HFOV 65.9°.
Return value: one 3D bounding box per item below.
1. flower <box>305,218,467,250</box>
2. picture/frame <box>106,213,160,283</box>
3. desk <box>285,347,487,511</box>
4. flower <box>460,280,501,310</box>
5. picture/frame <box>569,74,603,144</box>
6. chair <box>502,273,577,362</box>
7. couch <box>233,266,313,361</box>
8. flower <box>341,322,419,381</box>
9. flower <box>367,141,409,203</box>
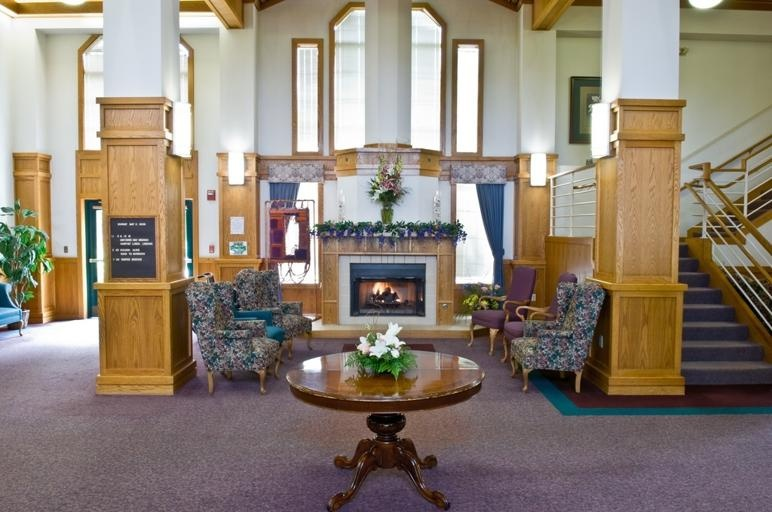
[{"bbox_3d":[0.054,-0.443,11.399,2.803,0.504,0.527,-2,3,-7],"label":"flower"},{"bbox_3d":[-3.515,-0.148,8.375,0.947,1.298,0.127,2,-1,-3],"label":"picture/frame"},{"bbox_3d":[-0.045,1.990,6.828,1.698,1.035,1.670,-1,-3,-3],"label":"desk"},{"bbox_3d":[1.830,0.785,11.546,0.570,0.496,0.725,1,1,9],"label":"flower"},{"bbox_3d":[4.129,-3.064,12.548,0.635,1.428,0.114,-2,3,-2],"label":"picture/frame"},{"bbox_3d":[2.642,0.984,10.063,1.380,1.929,1.331,1,-4,3],"label":"chair"},{"bbox_3d":[-2.065,0.923,10.018,1.405,1.743,1.335,-1,-1,14],"label":"couch"},{"bbox_3d":[-0.014,1.069,6.658,0.639,0.384,0.625,-2,3,-30],"label":"flower"},{"bbox_3d":[0.014,-1.531,11.372,0.728,1.171,0.293,-2,3,-3],"label":"flower"}]
